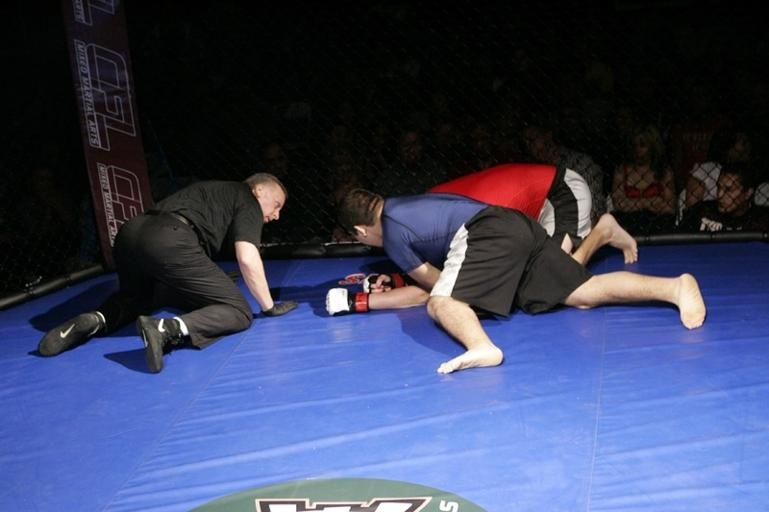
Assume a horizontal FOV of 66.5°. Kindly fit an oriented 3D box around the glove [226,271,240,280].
[{"bbox_3d":[-1.274,0.170,4.974,0.068,0.048,0.116,-9,9,-40],"label":"glove"}]

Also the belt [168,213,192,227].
[{"bbox_3d":[-1.356,-0.225,3.892,0.097,0.026,0.095,32,-2,27],"label":"belt"}]

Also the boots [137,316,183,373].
[{"bbox_3d":[-1.349,0.487,3.520,0.321,0.148,0.428,7,52,-31],"label":"boots"}]

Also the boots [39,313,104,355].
[{"bbox_3d":[-1.992,0.502,3.743,0.215,0.134,0.380,24,36,34],"label":"boots"}]

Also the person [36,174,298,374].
[{"bbox_3d":[-1.291,0.056,3.975,0.988,0.839,1.663,23,34,34],"label":"person"}]
